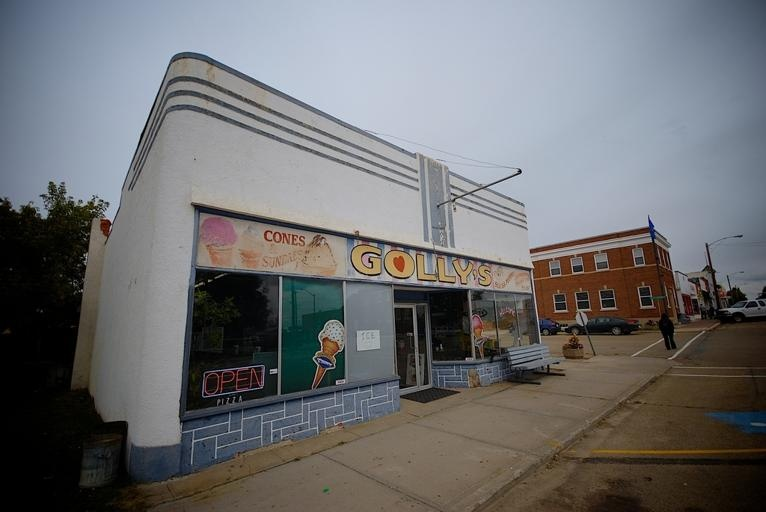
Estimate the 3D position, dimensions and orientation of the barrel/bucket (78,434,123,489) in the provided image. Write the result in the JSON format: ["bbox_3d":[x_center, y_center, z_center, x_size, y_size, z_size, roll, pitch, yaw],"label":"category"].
[{"bbox_3d":[-6.295,4.413,10.005,0.838,1.129,0.703,2,-4,-19],"label":"barrel/bucket"}]

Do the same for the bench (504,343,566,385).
[{"bbox_3d":[5.395,3.745,16.009,2.998,1.473,1.365,-8,8,-44],"label":"bench"}]
